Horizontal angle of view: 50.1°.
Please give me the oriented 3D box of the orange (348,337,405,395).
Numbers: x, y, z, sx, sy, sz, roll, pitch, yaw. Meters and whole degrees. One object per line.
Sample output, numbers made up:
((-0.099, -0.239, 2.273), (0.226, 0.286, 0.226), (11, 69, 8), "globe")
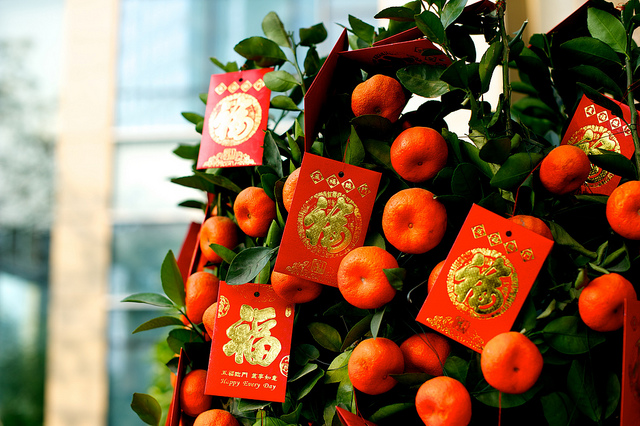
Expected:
((0.126, 0.352, 1.561), (0.131, 0.143, 0.123), (-3, 4, -18), "orange")

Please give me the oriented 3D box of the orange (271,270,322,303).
((-0.054, 0.177, 1.572), (0.077, 0.083, 0.080), (5, 44, -8), "orange")

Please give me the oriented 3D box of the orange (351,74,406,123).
((0.146, -0.281, 1.653), (0.150, 0.089, 0.160), (-13, 10, -2), "orange")

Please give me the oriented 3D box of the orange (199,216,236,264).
((-0.252, 0.063, 1.708), (0.090, 0.098, 0.099), (3, 13, 6), "orange")

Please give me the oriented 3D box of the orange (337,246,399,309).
((0.109, 0.156, 1.586), (0.151, 0.159, 0.162), (-3, -7, 23), "orange")

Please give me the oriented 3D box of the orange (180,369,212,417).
((-0.299, 0.432, 1.631), (0.089, 0.119, 0.087), (10, -12, -29), "orange")

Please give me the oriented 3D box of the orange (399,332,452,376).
((0.235, 0.322, 1.591), (0.109, 0.102, 0.091), (7, -7, -30), "orange")

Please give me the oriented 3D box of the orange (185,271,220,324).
((-0.295, 0.206, 1.704), (0.102, 0.122, 0.110), (5, 5, 19), "orange")

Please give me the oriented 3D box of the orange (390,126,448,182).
((0.228, -0.138, 1.613), (0.114, 0.115, 0.118), (17, 34, -6), "orange")

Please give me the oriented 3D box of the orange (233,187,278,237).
((-0.154, -0.001, 1.632), (0.101, 0.111, 0.041), (-1, 0, -7), "orange")

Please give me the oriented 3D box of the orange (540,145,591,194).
((0.545, -0.096, 1.533), (0.105, 0.113, 0.042), (-1, 0, 20), "orange")

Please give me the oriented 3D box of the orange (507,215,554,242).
((0.471, 0.026, 1.524), (0.060, 0.082, 0.064), (5, 11, 30), "orange")

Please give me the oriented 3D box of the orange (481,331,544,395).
((0.415, 0.327, 1.535), (0.120, 0.130, 0.118), (21, 3, 4), "orange")
